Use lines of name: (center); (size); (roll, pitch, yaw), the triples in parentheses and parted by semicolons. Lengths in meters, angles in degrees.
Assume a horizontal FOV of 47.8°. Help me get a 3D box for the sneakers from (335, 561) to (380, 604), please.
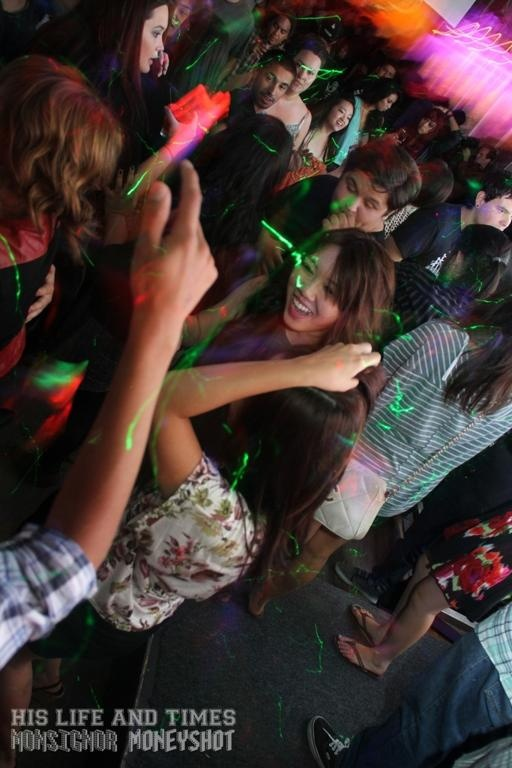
sneakers: (0.333, 0.666, 1.918); (0.152, 0.059, 0.051); (36, 55, -6)

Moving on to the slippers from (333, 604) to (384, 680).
slippers: (0.325, 0.779, 1.758); (0.152, 0.045, 0.183); (27, 39, 7)
